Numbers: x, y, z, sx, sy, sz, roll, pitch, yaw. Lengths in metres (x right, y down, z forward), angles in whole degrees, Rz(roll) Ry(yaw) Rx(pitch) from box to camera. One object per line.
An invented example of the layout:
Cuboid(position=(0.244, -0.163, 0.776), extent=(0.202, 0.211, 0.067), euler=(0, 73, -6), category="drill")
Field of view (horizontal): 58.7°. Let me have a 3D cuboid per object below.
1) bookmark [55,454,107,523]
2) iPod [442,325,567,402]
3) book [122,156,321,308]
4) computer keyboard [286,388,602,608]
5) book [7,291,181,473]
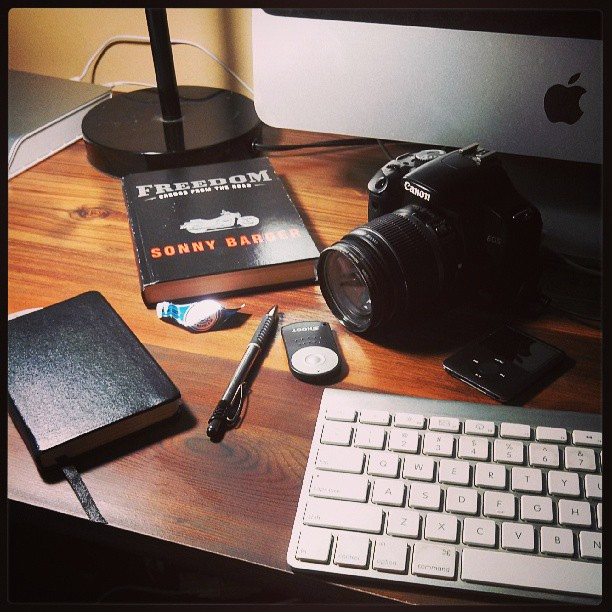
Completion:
Cuboid(position=(-0.147, 0.119, 0.354), extent=(0.008, 0.010, 0.058), euler=(-30, 52, -28), category="bookmark")
Cuboid(position=(0.162, 0.049, 0.450), extent=(0.087, 0.015, 0.066), euler=(-24, 34, -27), category="iPod")
Cuboid(position=(-0.087, -0.070, 0.548), extent=(0.170, 0.017, 0.252), euler=(-12, 42, -15), category="book")
Cuboid(position=(0.099, 0.116, 0.355), extent=(0.204, 0.014, 0.139), euler=(7, 46, 6), category="computer keyboard")
Cuboid(position=(-0.173, 0.049, 0.415), extent=(0.104, 0.031, 0.148), euler=(-29, 52, -26), category="book")
